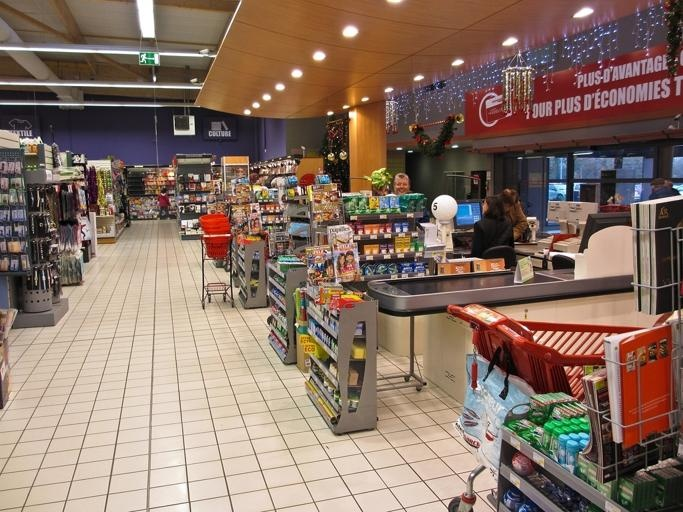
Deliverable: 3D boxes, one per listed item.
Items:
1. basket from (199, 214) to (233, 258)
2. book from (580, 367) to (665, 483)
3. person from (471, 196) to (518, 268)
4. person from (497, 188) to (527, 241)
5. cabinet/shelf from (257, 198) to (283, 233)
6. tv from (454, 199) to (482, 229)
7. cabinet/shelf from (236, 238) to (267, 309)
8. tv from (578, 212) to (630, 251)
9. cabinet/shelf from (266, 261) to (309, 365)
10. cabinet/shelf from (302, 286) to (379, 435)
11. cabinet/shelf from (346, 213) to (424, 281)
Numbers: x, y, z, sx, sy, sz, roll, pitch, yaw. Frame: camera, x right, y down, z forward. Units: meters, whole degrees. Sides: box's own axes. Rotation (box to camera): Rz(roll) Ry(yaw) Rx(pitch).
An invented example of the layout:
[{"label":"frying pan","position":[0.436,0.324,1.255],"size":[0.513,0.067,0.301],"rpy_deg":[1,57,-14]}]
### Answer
[{"label":"basket","position":[-2.233,-0.341,8.630],"size":[0.494,0.816,0.474],"rpy_deg":[-6,10,-15]},{"label":"book","position":[1.231,0.794,2.223],"size":[0.395,0.520,0.181],"rpy_deg":[-2,4,-31]},{"label":"person","position":[2.347,-0.338,7.148],"size":[0.582,1.341,0.415],"rpy_deg":[-4,42,19]},{"label":"person","position":[3.024,-0.706,8.344],"size":[0.460,0.970,0.655],"rpy_deg":[-3,35,21]},{"label":"cabinet/shelf","position":[-1.398,-0.759,9.387],"size":[0.601,0.822,0.265],"rpy_deg":[-6,-30,-7]},{"label":"tv","position":[2.218,-0.720,8.461],"size":[0.567,0.521,0.306],"rpy_deg":[-1,7,-13]},{"label":"cabinet/shelf","position":[-1.600,0.314,8.618],"size":[0.495,1.243,1.249],"rpy_deg":[-1,3,-15]},{"label":"tv","position":[2.772,-0.250,5.012],"size":[0.552,0.398,0.057],"rpy_deg":[0,9,-13]},{"label":"cabinet/shelf","position":[-0.661,0.709,5.971],"size":[0.551,1.244,1.266],"rpy_deg":[-2,2,-16]},{"label":"cabinet/shelf","position":[-0.061,0.996,4.913],"size":[0.430,1.184,1.208],"rpy_deg":[0,2,-17]},{"label":"cabinet/shelf","position":[0.485,-0.097,5.723],"size":[0.781,0.640,0.283],"rpy_deg":[-3,4,-18]}]
